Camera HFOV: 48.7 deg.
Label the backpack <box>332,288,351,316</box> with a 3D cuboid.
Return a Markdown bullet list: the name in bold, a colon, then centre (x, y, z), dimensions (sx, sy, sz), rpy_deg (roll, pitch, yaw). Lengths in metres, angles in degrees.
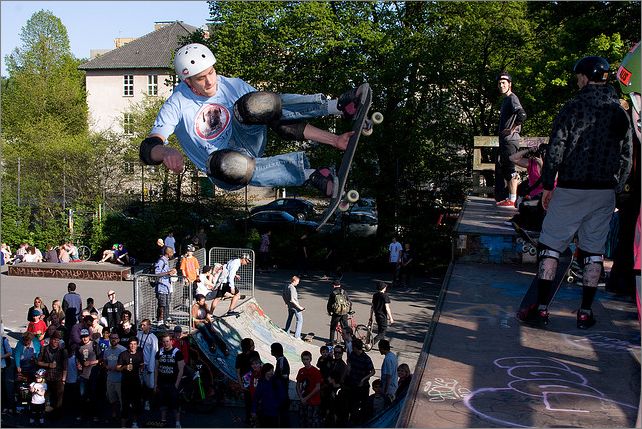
- **backpack**: centre (0.621, 2.699, 21.614), dimensions (0.578, 0.548, 0.292), rpy_deg (3, 2, -13)

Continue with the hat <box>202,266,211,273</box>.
- **hat**: centre (-3.687, 1.739, 22.696), dimensions (0.233, 0.212, 0.183), rpy_deg (-24, 38, -35)

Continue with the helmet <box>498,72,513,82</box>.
- **helmet**: centre (4.962, -3.733, 19.118), dimensions (0.353, 0.193, 0.461), rpy_deg (4, 2, 12)

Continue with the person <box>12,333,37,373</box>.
- **person**: centre (-7.642, 3.613, 18.352), dimensions (0.767, 1.065, 0.528), rpy_deg (3, 2, 1)

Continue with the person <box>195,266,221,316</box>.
- **person**: centre (-3.556, 2.422, 22.119), dimensions (0.885, 0.527, 1.444), rpy_deg (-9, -31, -26)

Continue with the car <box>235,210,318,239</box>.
- **car**: centre (-2.216, 0.435, 37.651), dimensions (4.097, 1.271, 1.795), rpy_deg (-1, 0, 18)

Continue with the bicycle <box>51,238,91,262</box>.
- **bicycle**: centre (-12.575, 1.885, 35.354), dimensions (1.838, 1.038, 0.874), rpy_deg (-5, 0, -4)

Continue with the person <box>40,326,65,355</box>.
- **person**: centre (-7.202, 3.269, 18.924), dimensions (0.615, 0.780, 0.353), rpy_deg (9, 16, -2)

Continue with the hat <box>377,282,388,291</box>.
- **hat**: centre (1.818, 2.184, 21.445), dimensions (0.269, 0.128, 0.366), rpy_deg (-7, -5, 1)

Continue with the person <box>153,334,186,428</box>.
- **person**: centre (-3.835, 4.190, 17.738), dimensions (0.698, 2.421, 0.404), rpy_deg (3, 2, -10)

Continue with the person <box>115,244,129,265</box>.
- **person**: centre (-9.639, 1.942, 34.093), dimensions (0.813, 0.877, 0.570), rpy_deg (4, 2, 20)

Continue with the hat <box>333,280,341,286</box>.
- **hat**: centre (0.460, 2.098, 21.613), dimensions (0.157, 0.184, 0.205), rpy_deg (13, 27, 36)

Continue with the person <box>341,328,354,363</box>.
- **person**: centre (0.684, 3.414, 18.409), dimensions (0.473, 0.415, 1.274), rpy_deg (-5, -26, 5)

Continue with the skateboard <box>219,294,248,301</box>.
- **skateboard**: centre (-3.059, 2.877, 24.933), dimensions (0.848, 0.313, 0.239), rpy_deg (3, 4, -9)

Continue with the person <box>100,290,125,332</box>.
- **person**: centre (-6.442, 3.003, 21.779), dimensions (0.809, 1.491, 0.433), rpy_deg (-7, -28, -13)

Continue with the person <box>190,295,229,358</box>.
- **person**: centre (-3.121, 3.076, 19.841), dimensions (0.881, 1.458, 1.585), rpy_deg (3, 2, -17)

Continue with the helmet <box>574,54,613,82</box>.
- **helmet**: centre (5.410, -2.884, 13.955), dimensions (0.637, 0.470, 0.475), rpy_deg (-6, 16, 36)

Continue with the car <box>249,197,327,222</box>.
- **car**: centre (-2.160, -0.386, 42.070), dimensions (3.693, 1.170, 1.644), rpy_deg (3, 3, 11)

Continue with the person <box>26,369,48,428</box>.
- **person**: centre (-7.160, 4.617, 17.780), dimensions (0.415, 1.388, 0.333), rpy_deg (3, 2, -21)

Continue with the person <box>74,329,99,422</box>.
- **person**: centre (-6.058, 4.232, 18.465), dimensions (0.736, 2.222, 0.373), rpy_deg (4, 2, 16)

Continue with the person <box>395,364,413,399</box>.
- **person**: centre (1.930, 3.966, 16.624), dimensions (0.305, 0.579, 0.995), rpy_deg (4, 2, 6)

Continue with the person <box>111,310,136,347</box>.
- **person**: centre (-5.471, 3.158, 19.475), dimensions (0.747, 1.144, 0.375), rpy_deg (-2, -16, -4)

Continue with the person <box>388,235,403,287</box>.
- **person**: centre (3.040, 1.880, 28.936), dimensions (0.566, 1.407, 1.322), rpy_deg (4, 2, 6)

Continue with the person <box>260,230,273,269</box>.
- **person**: centre (-2.614, 1.662, 32.983), dimensions (0.488, 1.787, 0.828), rpy_deg (3, 2, -3)

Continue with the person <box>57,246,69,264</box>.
- **person**: centre (-12.129, 1.834, 33.180), dimensions (0.689, 0.985, 0.750), rpy_deg (0, 13, -20)

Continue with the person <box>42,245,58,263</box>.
- **person**: centre (-12.665, 1.853, 33.072), dimensions (0.440, 0.529, 0.919), rpy_deg (-12, -29, -25)

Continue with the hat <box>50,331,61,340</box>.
- **hat**: centre (-6.813, 3.102, 18.124), dimensions (0.229, 0.202, 0.192), rpy_deg (2, 2, -33)

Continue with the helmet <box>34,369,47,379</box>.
- **helmet**: centre (-7.089, 4.000, 17.781), dimensions (0.195, 0.239, 0.232), rpy_deg (23, 15, 21)

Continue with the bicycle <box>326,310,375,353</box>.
- **bicycle**: centre (1.219, 3.706, 22.124), dimensions (1.785, 1.024, 0.719), rpy_deg (2, -1, 32)

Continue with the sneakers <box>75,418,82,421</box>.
- **sneakers**: centre (-6.311, 5.312, 18.378), dimensions (0.105, 0.077, 0.164), rpy_deg (2, 2, -27)

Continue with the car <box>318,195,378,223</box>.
- **car**: centre (1.790, -0.387, 42.949), dimensions (3.133, 0.991, 1.393), rpy_deg (0, 1, -5)

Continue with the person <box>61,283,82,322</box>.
- **person**: centre (-7.664, 2.927, 21.719), dimensions (0.567, 1.606, 0.467), rpy_deg (1, 13, -20)
